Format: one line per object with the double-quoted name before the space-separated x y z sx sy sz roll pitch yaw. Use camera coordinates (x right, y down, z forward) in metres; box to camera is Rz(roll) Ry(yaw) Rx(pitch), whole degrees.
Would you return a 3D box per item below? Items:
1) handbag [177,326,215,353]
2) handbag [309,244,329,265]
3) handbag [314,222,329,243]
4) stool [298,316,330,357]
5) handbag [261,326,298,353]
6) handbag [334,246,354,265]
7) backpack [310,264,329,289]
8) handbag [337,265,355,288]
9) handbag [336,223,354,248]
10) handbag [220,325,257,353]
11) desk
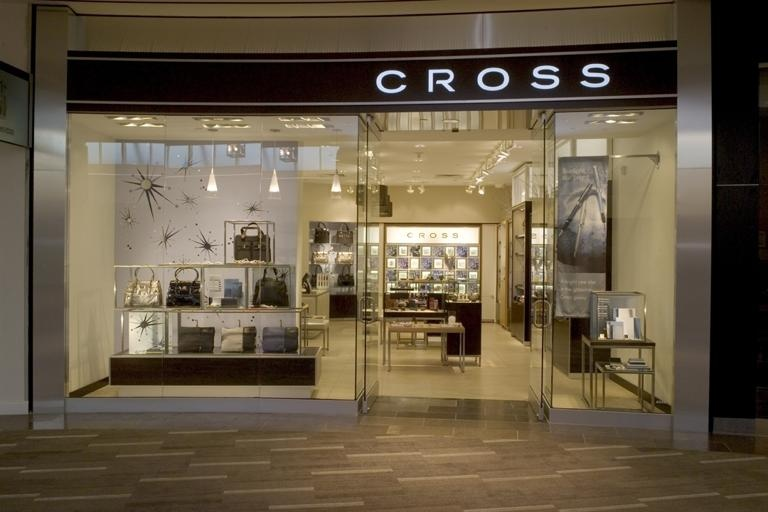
"handbag" -2.621 1.172 9.008 0.518 0.357 0.340 0 1 -1
"handbag" -0.891 -0.034 8.912 0.260 0.272 0.157 0 9 -6
"handbag" -0.871 -0.308 8.874 0.251 0.274 0.092 4 10 19
"stool" -0.882 1.119 9.071 0.578 0.617 0.429 0 -4 5
"handbag" -1.465 1.177 9.011 0.592 0.424 0.324 0 -2 2
"handbag" -0.532 -0.043 8.966 0.314 0.336 0.243 1 3 3
"backpack" -0.888 0.287 8.867 0.338 0.463 0.160 0 -3 -2
"handbag" -0.526 0.291 8.858 0.298 0.407 0.144 0 -5 -1
"handbag" -0.533 -0.298 8.826 0.300 0.398 0.130 2 12 6
"handbag" -2.038 1.173 9.152 0.382 0.387 0.137 -1 -1 3
"desk" 0.766 1.695 11.747 1.387 0.776 0.539 0 -2 0
